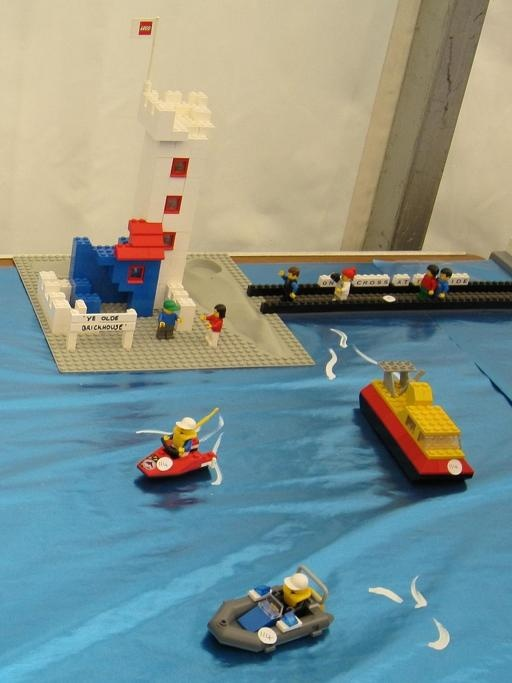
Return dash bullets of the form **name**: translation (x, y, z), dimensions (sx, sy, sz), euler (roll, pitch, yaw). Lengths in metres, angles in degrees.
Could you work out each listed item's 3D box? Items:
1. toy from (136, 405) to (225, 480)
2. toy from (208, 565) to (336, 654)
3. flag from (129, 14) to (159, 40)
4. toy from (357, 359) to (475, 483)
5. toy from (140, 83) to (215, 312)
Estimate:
- **toy**: translation (-0.390, 0.604, 3.246), dimensions (0.473, 0.213, 0.423), euler (35, 35, 28)
- **toy**: translation (0.081, 1.082, 2.342), dimensions (0.495, 0.176, 0.267), euler (-11, 45, -30)
- **flag**: translation (-0.829, -2.350, 4.396), dimensions (0.157, 0.142, 0.255), euler (9, 27, -9)
- **toy**: translation (1.037, 0.543, 3.854), dimensions (0.299, 0.294, 0.725), euler (-5, 28, -11)
- **toy**: translation (-0.710, -1.064, 4.512), dimensions (0.506, 1.656, 0.579), euler (7, 31, -14)
